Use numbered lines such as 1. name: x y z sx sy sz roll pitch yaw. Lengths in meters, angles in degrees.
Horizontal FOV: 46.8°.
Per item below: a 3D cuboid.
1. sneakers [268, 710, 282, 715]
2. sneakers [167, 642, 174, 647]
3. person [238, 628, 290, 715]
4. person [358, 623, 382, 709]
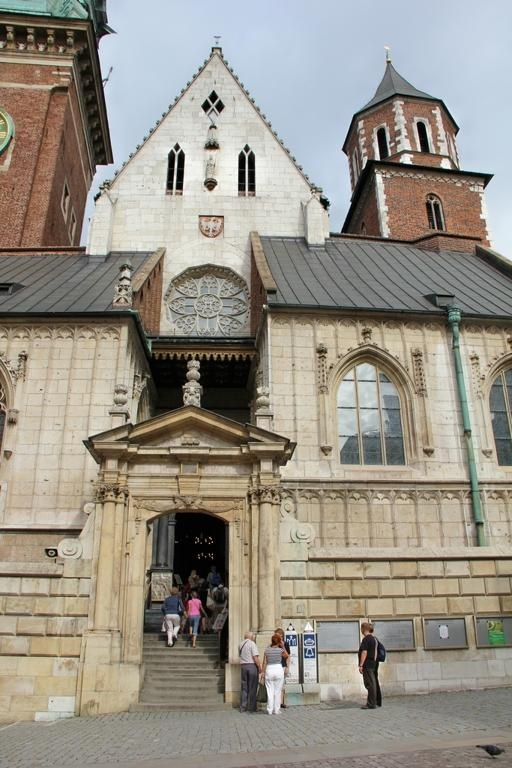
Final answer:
1. sneakers: 0.296 5.213 9.384 0.213 0.092 0.072 -5 -25 12
2. sneakers: -1.882 5.689 12.928 0.120 0.097 0.207 3 -21 -10
3. person: 0.116 4.773 9.775 0.573 1.222 1.166 8 -22 -22
4. person: 1.881 4.662 9.831 0.340 1.266 0.639 -4 -21 9
